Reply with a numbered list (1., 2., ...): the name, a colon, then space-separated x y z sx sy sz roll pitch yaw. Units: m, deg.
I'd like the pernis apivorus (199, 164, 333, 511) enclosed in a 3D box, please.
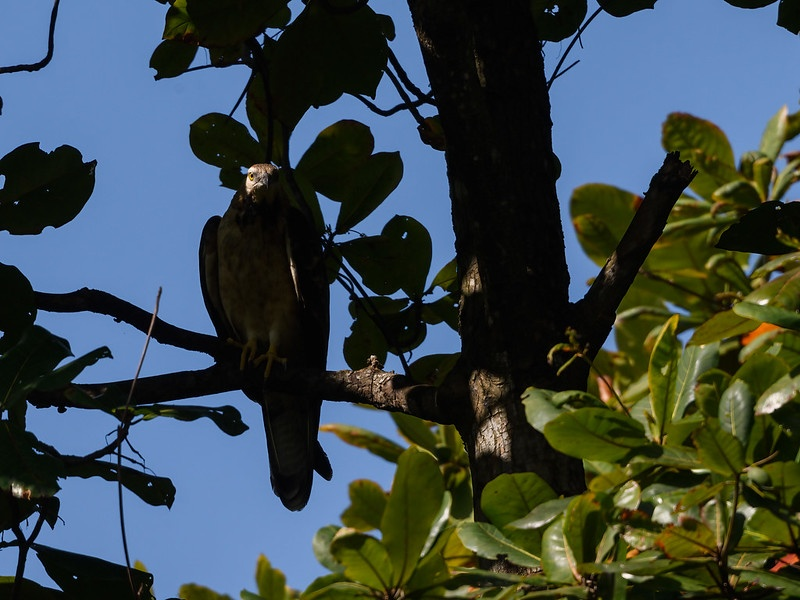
1. pernis apivorus: -0.474 0.107 6.015 0.369 0.887 0.863 -5 -29 2
